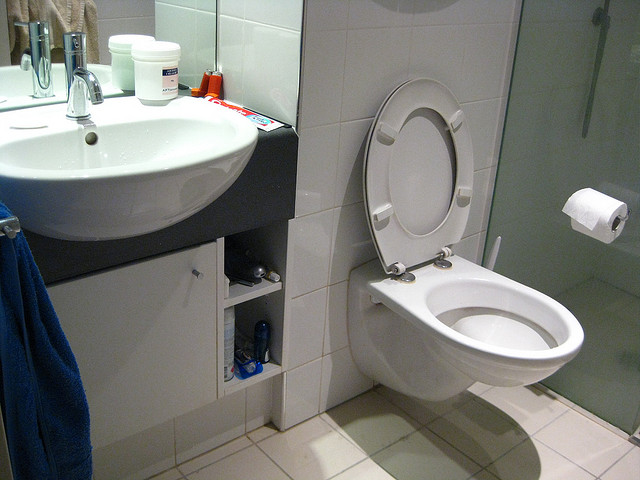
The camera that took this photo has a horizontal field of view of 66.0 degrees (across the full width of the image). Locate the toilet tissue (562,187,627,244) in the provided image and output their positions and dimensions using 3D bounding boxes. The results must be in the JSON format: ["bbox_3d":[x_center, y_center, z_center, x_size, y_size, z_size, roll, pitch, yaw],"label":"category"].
[{"bbox_3d":[0.904,-0.092,1.681,0.171,0.194,0.164,6,24,1],"label":"toilet tissue"}]

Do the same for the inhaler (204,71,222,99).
[{"bbox_3d":[-0.322,-0.466,1.484,0.038,0.091,0.045,36,35,27],"label":"inhaler"}]

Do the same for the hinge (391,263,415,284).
[{"bbox_3d":[0.277,0.106,1.589,0.080,0.054,0.059,-8,33,-22],"label":"hinge"}]

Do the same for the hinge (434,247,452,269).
[{"bbox_3d":[0.432,0.064,1.701,0.039,0.041,0.083,13,34,14],"label":"hinge"}]

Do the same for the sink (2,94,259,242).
[{"bbox_3d":[-0.451,-0.180,1.227,0.557,0.221,0.504,-12,36,-27],"label":"sink"}]
